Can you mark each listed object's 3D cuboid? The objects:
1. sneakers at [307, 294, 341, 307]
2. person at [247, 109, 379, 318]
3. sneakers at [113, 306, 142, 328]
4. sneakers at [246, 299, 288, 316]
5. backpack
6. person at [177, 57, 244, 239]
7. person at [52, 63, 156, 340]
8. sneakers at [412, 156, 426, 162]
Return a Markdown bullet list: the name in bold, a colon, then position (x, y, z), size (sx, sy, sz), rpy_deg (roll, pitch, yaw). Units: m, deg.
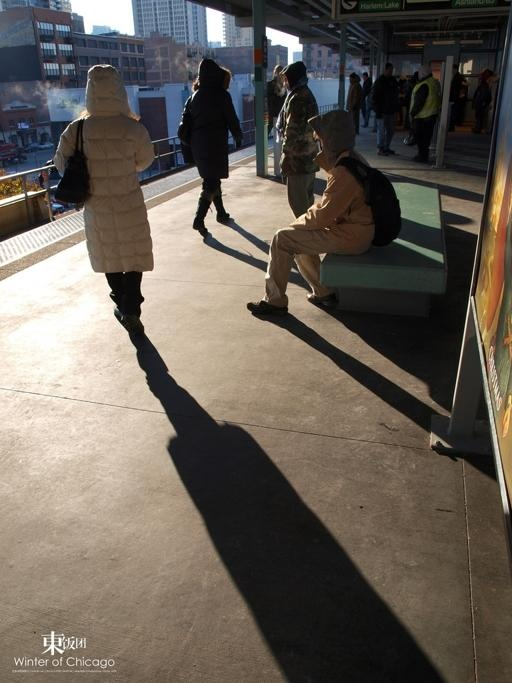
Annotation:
- **sneakers**: position (0.583, -0.366, 4.050), size (0.090, 0.112, 0.251), rpy_deg (-14, 26, -42)
- **person**: position (0.459, -0.949, 3.678), size (0.902, 1.491, 0.490), rpy_deg (4, 26, 12)
- **sneakers**: position (-1.016, -0.182, 3.704), size (0.123, 0.152, 0.358), rpy_deg (-7, 17, -30)
- **sneakers**: position (0.099, -0.266, 3.932), size (0.324, 0.154, 0.124), rpy_deg (7, 19, 7)
- **backpack**: position (0.887, -1.028, 3.467), size (0.597, 0.572, 0.426), rpy_deg (-3, 29, 14)
- **person**: position (-0.560, -2.418, 5.987), size (0.785, 1.965, 0.830), rpy_deg (-6, 25, -8)
- **person**: position (-1.028, -0.955, 3.395), size (0.667, 1.763, 0.440), rpy_deg (-8, 26, -12)
- **sneakers**: position (3.815, -4.249, 11.138), size (0.125, 0.163, 0.373), rpy_deg (1, 20, -13)
